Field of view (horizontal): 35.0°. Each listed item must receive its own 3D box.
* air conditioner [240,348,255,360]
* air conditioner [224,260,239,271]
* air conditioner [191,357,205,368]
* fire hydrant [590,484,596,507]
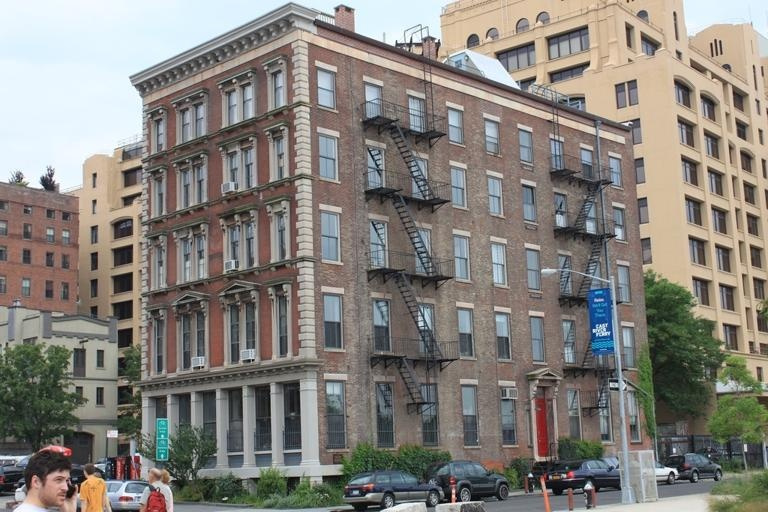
[{"bbox_3d":[-9.861,7.076,87.226,1.249,1.021,0.706,-8,-16,30],"label":"air conditioner"},{"bbox_3d":[-11.277,0.708,89.114,1.200,0.859,0.436,-10,-20,19],"label":"air conditioner"},{"bbox_3d":[-13.758,7.802,89.865,0.751,0.610,0.408,-10,-15,36],"label":"air conditioner"},{"bbox_3d":[12.997,14.984,75.209,0.208,0.991,0.495,-10,-19,17],"label":"fire hydrant"}]
